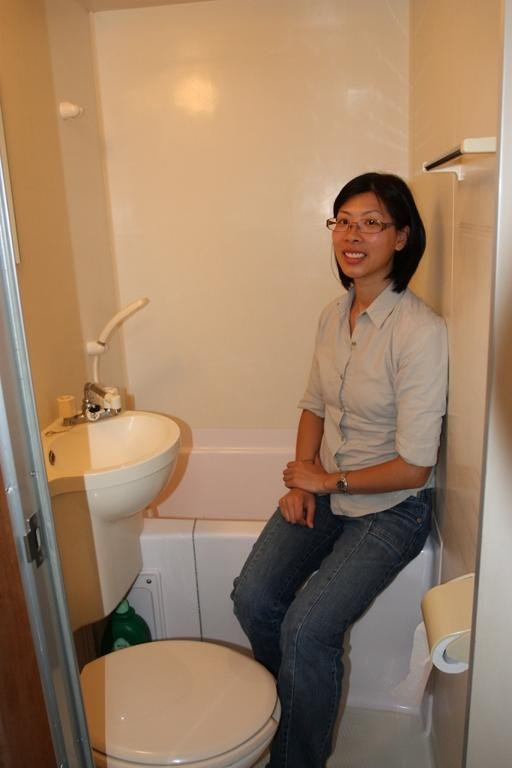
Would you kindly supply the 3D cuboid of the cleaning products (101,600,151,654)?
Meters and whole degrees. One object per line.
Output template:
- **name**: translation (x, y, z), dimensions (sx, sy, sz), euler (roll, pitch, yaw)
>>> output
- **cleaning products**: translation (-0.317, 0.597, 1.464), dimensions (0.102, 0.181, 0.107), euler (-2, 8, 4)

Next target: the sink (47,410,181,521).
- **sink**: translation (-0.321, 0.202, 1.351), dimensions (0.261, 0.109, 0.243), euler (2, 26, 5)

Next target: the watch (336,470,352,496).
- **watch**: translation (0.192, 0.222, 1.277), dimensions (0.030, 0.051, 0.046), euler (1, -10, 18)

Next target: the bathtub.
- **bathtub**: translation (0.145, 0.540, 2.144), dimensions (1.468, 0.652, 0.687), euler (-1, 12, 8)

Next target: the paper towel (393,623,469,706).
- **paper towel**: translation (0.218, 0.320, 0.656), dimensions (0.059, 0.089, 0.041), euler (-1, 3, 0)
